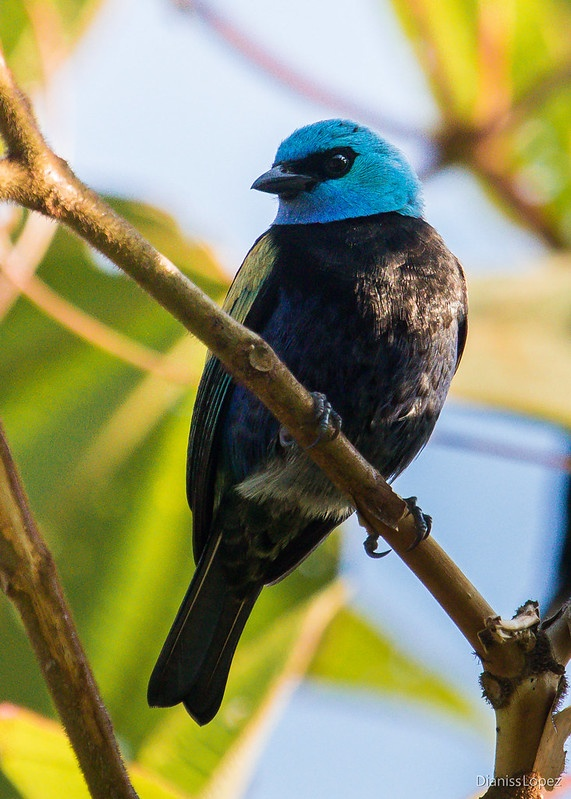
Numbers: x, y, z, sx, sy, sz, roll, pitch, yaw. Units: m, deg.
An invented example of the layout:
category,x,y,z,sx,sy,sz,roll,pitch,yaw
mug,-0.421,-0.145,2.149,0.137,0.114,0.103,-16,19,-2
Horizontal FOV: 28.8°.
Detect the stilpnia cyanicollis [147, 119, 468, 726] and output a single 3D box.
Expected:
category,x,y,z,sx,sy,sz,roll,pitch,yaw
stilpnia cyanicollis,0.068,-0.021,4.232,1.107,1.848,0.778,34,-17,-6
